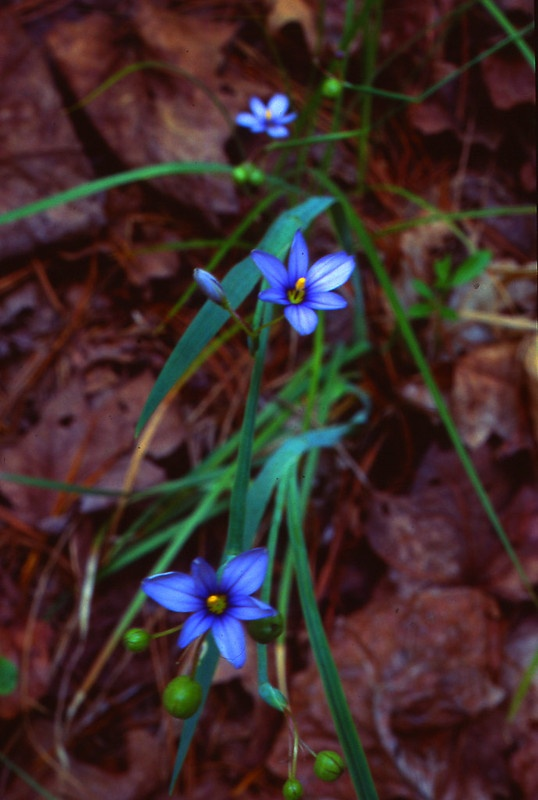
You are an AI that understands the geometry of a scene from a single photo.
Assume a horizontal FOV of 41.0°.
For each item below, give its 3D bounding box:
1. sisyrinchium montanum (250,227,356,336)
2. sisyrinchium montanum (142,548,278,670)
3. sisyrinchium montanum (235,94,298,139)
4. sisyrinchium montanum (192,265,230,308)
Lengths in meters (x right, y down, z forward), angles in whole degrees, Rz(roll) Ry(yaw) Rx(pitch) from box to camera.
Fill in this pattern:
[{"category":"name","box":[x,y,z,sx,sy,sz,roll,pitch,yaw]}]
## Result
[{"category":"sisyrinchium montanum","box":[0.024,-0.096,0.586,0.075,0.036,0.086,24,28,39]},{"category":"sisyrinchium montanum","box":[-0.039,0.158,0.541,0.111,0.047,0.087,-2,49,-32]},{"category":"sisyrinchium montanum","box":[-0.001,-0.291,0.741,0.051,0.024,0.053,18,65,6]},{"category":"sisyrinchium montanum","box":[-0.039,-0.085,0.568,0.018,0.048,0.016,11,59,39]}]
